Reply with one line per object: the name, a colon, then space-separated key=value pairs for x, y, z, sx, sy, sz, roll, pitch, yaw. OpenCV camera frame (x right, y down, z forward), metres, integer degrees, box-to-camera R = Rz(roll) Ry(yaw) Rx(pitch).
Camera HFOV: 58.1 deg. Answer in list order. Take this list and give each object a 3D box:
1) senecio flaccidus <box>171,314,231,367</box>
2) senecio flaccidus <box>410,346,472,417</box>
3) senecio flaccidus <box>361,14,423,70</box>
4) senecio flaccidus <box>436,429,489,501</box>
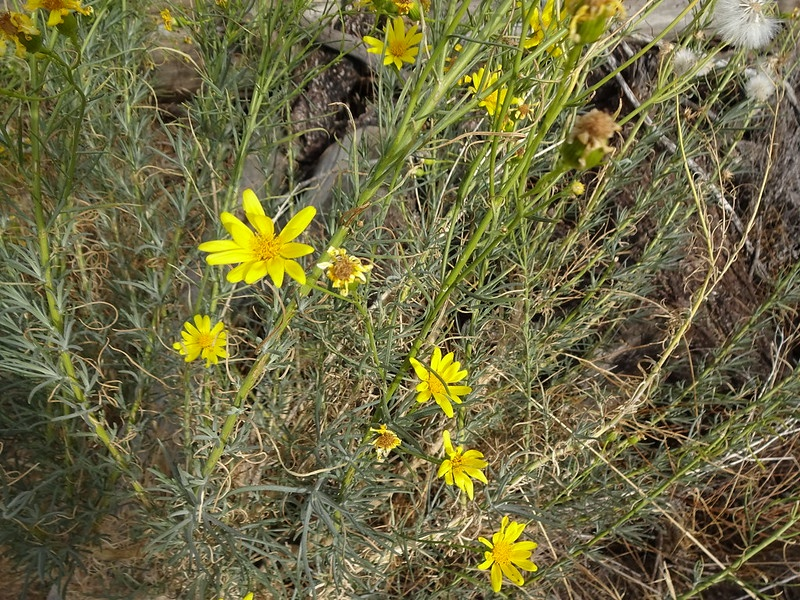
senecio flaccidus: x=-0.455 y=0.095 z=1.724 sx=0.131 sy=0.126 sz=0.047 roll=28 pitch=3 yaw=5
senecio flaccidus: x=0.059 y=0.168 z=1.621 sx=0.161 sy=0.145 sz=0.065 roll=24 pitch=-11 yaw=-3
senecio flaccidus: x=-0.010 y=-0.589 z=1.608 sx=0.135 sy=0.126 sz=0.064 roll=9 pitch=9 yaw=2
senecio flaccidus: x=0.146 y=0.380 z=1.690 sx=0.152 sy=0.057 sz=0.145 roll=21 pitch=21 yaw=-53
